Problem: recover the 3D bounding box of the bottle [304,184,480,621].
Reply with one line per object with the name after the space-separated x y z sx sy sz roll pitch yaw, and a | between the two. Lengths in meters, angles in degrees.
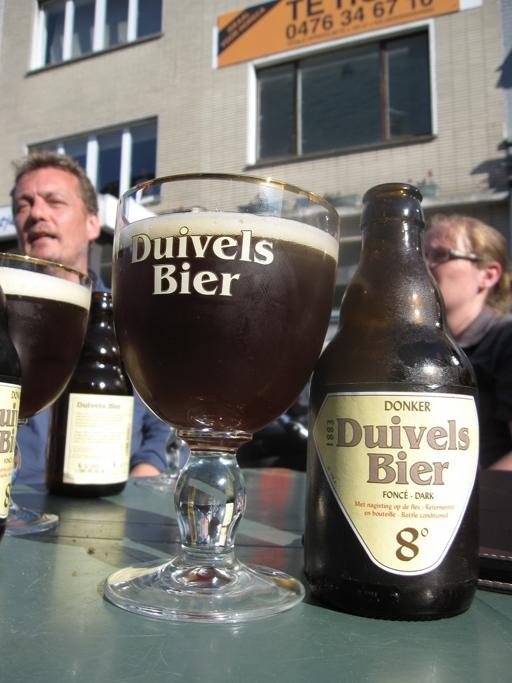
0.086 0.028 0.473 0.092 0.285 0.088 2 -3 0 | bottle
